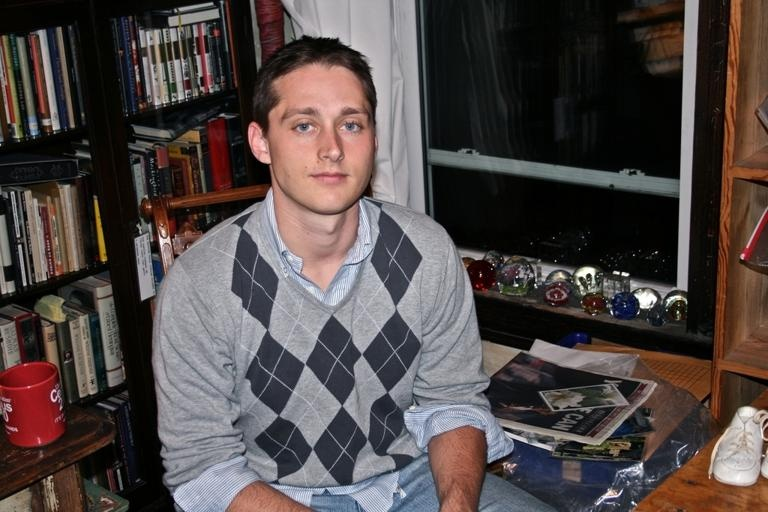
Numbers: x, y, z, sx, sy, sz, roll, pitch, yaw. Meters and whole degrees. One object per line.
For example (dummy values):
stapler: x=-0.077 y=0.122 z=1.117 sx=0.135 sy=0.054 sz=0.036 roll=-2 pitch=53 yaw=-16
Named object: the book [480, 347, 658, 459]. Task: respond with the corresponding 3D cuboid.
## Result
book: x=0.538 y=0.447 z=1.877 sx=0.275 sy=0.036 sz=0.294 roll=7 pitch=29 yaw=38
